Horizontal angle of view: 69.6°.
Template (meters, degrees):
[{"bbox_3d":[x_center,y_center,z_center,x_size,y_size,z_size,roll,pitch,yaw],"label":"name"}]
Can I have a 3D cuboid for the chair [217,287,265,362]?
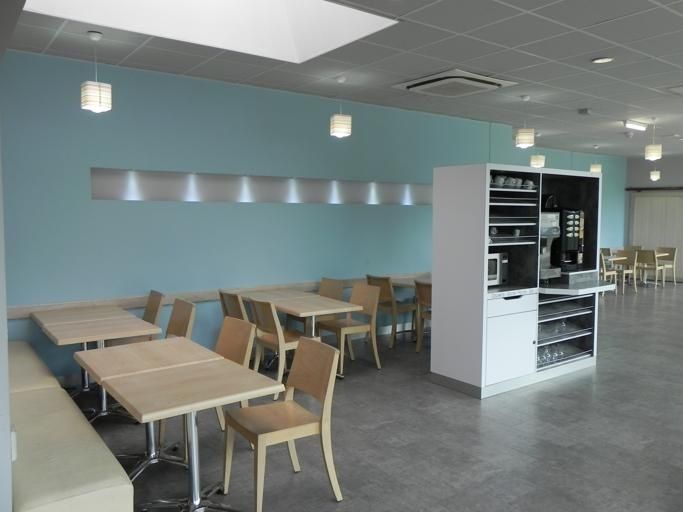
[{"bbox_3d":[-1.132,0.653,5.950,0.602,0.759,0.451,-4,7,-39],"label":"chair"}]

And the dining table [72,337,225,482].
[{"bbox_3d":[-1.470,1.129,3.859,1.133,1.003,1.093,-3,7,-43],"label":"dining table"}]

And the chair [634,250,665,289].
[{"bbox_3d":[8.402,0.258,13.323,0.614,1.051,2.694,6,10,33],"label":"chair"}]

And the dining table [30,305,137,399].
[{"bbox_3d":[-2.651,0.640,5.127,0.922,0.896,1.530,0,6,-37],"label":"dining table"}]

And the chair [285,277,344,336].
[{"bbox_3d":[-0.242,0.648,6.595,0.770,1.055,0.659,0,3,-40],"label":"chair"}]

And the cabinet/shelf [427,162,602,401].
[{"bbox_3d":[2.299,0.200,5.911,2.339,2.505,1.302,-5,7,-36],"label":"cabinet/shelf"}]
